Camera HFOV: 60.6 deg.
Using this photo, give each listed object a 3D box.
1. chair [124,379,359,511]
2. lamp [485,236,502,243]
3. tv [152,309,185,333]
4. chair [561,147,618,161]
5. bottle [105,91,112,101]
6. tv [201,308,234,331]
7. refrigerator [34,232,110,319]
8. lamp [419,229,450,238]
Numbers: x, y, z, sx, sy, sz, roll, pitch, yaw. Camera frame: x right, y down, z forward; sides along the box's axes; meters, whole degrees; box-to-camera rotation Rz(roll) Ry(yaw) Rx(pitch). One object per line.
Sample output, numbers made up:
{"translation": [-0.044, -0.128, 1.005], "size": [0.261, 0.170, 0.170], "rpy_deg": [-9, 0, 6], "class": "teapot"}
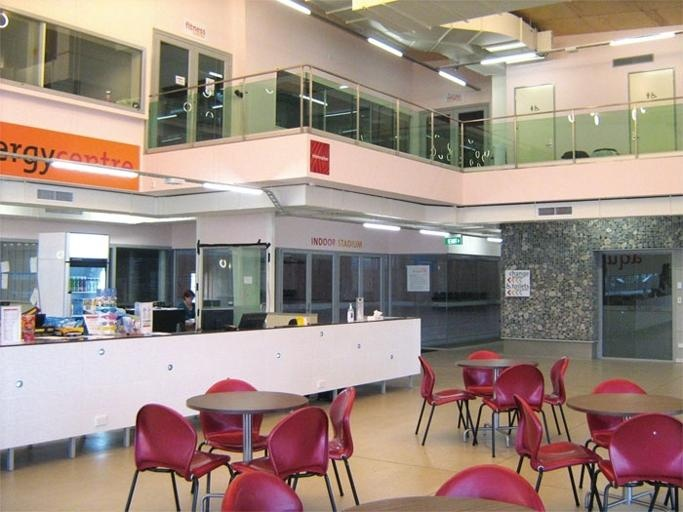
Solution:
{"translation": [-0.980, 1.778, 5.217], "size": [1.847, 1.103, 1.130], "rpy_deg": [-1, -2, 1], "class": "chair"}
{"translation": [5.110, -0.522, 19.598], "size": [0.137, 0.172, 0.938], "rpy_deg": [-3, -3, 42], "class": "lamp"}
{"translation": [-3.360, 1.252, 11.389], "size": [0.647, 0.444, 0.445], "rpy_deg": [0, -2, -27], "class": "tv"}
{"translation": [5.416, -2.241, 12.793], "size": [1.161, 0.185, 0.112], "rpy_deg": [-2, -2, 27], "class": "chair"}
{"translation": [-4.629, -3.179, 11.624], "size": [0.025, 0.221, 0.119], "rpy_deg": [-2, -1, 38], "class": "bottle"}
{"translation": [-2.645, 1.342, 12.488], "size": [0.790, 0.441, 0.341], "rpy_deg": [-3, -2, 43], "class": "tv"}
{"translation": [-4.929, 0.539, 10.904], "size": [0.837, 1.648, 0.984], "rpy_deg": [-1, 1, 22], "class": "refrigerator"}
{"translation": [2.713, -0.612, 17.002], "size": [0.822, 0.202, 1.497], "rpy_deg": [-1, -2, 8], "class": "lamp"}
